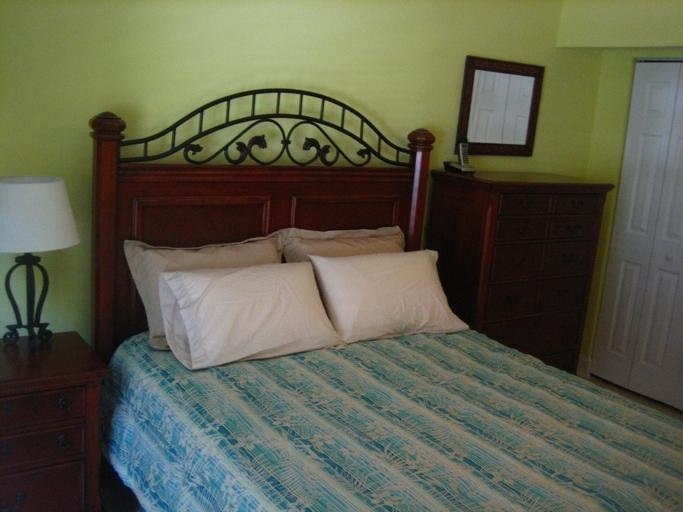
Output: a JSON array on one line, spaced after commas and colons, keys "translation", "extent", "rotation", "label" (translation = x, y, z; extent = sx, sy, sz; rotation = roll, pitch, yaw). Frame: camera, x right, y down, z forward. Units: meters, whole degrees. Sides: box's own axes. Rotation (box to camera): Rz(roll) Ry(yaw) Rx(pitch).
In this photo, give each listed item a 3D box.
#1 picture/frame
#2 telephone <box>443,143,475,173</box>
[{"translation": [1.049, -1.047, 3.592], "extent": [0.779, 0.831, 0.056], "rotation": [0, 10, -27], "label": "picture/frame"}, {"translation": [0.762, -0.632, 3.384], "extent": [0.157, 0.224, 0.225], "rotation": [-3, 7, -27], "label": "telephone"}]
